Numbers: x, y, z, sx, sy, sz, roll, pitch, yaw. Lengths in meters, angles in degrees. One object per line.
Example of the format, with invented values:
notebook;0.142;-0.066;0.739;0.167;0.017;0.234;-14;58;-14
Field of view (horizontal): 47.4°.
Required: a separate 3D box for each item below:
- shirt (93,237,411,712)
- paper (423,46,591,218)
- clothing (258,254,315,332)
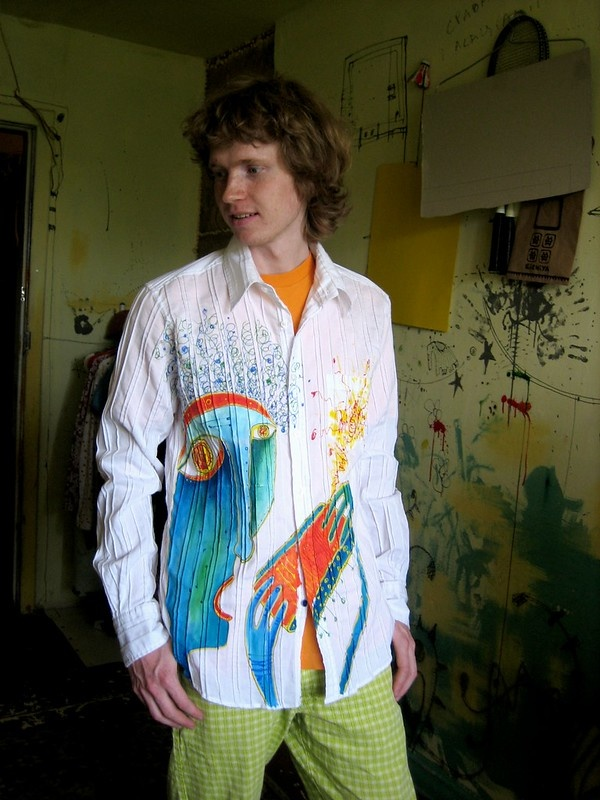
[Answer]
shirt;-0.052;0.104;1.143;0.567;0.739;0.278;-1;7;-20
paper;0.506;-0.635;1.628;0.058;0.381;0.521;3;-2;-35
clothing;-0.023;-0.217;1.241;0.092;0.135;0.070;-17;-32;-5
